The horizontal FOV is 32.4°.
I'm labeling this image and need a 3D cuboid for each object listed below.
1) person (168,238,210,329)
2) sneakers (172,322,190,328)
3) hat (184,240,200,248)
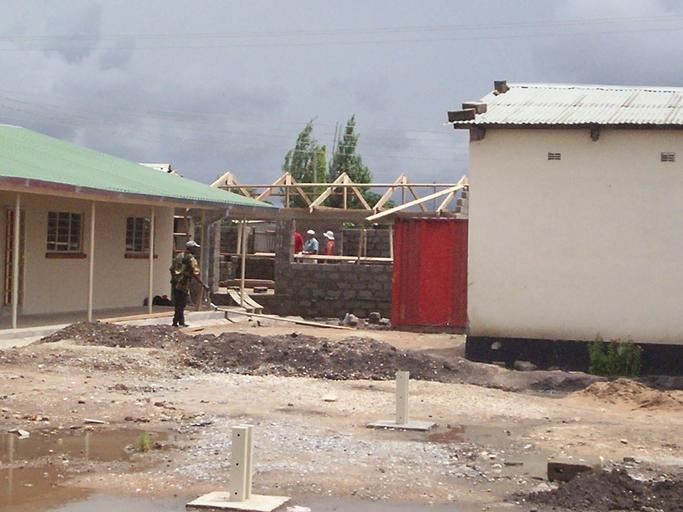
[{"bbox_3d":[-3.003,0.602,23.005,0.688,1.738,0.979,1,11,-8],"label":"person"},{"bbox_3d":[-3.147,1.360,23.167,0.313,0.203,0.099,-2,5,-24],"label":"sneakers"},{"bbox_3d":[-3.132,-0.255,24.908,0.322,0.143,0.225,-1,3,-19],"label":"hat"}]
